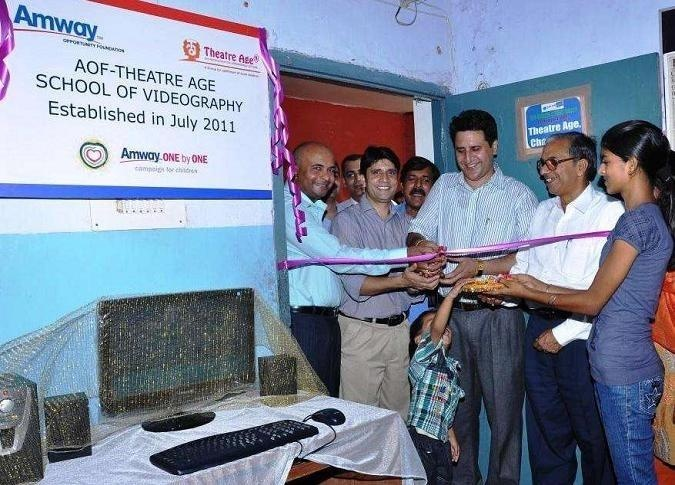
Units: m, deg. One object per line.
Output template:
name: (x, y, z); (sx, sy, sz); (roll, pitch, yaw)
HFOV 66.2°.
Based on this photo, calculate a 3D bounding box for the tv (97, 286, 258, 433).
tv: (-0.699, 0.428, 2.235); (0.758, 0.622, 0.394); (0, -6, -33)

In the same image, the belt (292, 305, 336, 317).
belt: (-0.134, 0.397, 2.971); (0.261, 0.084, 0.049); (-5, 5, -9)

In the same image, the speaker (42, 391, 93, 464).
speaker: (-0.980, 0.676, 1.867); (0.196, 0.299, 0.145); (-2, -12, -30)

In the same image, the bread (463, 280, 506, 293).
bread: (0.774, 0.231, 2.775); (0.129, 0.064, 0.213); (-7, 6, -30)

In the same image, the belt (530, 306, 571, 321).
belt: (1.215, 0.407, 2.994); (0.055, 0.084, 0.269); (-6, 5, -27)
